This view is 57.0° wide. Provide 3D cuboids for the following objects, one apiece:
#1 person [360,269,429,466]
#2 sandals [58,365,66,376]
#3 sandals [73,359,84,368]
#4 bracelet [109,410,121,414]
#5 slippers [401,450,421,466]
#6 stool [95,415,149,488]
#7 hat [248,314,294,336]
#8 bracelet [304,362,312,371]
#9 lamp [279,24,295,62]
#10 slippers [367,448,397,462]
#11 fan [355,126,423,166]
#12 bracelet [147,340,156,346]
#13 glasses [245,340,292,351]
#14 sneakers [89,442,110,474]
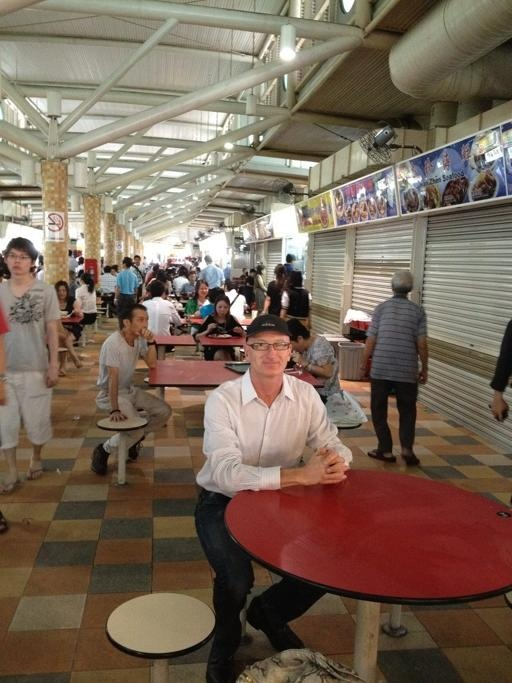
[{"bbox_3d":[1.367,0.386,4.692,0.607,1.665,0.317,5,7,16],"label":"person"},{"bbox_3d":[-3.249,0.511,7.973,0.078,0.091,0.240,1,9,-12],"label":"sandals"},{"bbox_3d":[-2.857,0.363,7.659,0.146,0.095,0.273,-40,16,-13],"label":"sandals"},{"bbox_3d":[-1.140,0.573,3.839,0.056,0.035,0.053,2,0,-13],"label":"bracelet"},{"bbox_3d":[1.530,1.166,4.634,0.087,0.078,0.231,-1,-4,-1],"label":"slippers"},{"bbox_3d":[-1.106,0.889,3.970,0.352,0.571,0.771,1,6,-13],"label":"stool"},{"bbox_3d":[0.046,-0.053,1.895,0.148,0.090,0.188,2,-6,-2],"label":"hat"},{"bbox_3d":[0.474,0.226,4.245,0.055,0.025,0.062,17,8,-8],"label":"bracelet"},{"bbox_3d":[0.385,-3.623,5.622,0.163,0.529,0.354,2,6,-2],"label":"lamp"},{"bbox_3d":[1.277,1.163,4.781,0.106,0.108,0.287,1,-2,-30],"label":"slippers"},{"bbox_3d":[2.121,-3.055,7.229,0.932,0.597,0.497,4,-3,-29],"label":"fan"},{"bbox_3d":[-0.970,0.009,4.403,0.081,0.052,0.083,1,8,-1],"label":"bracelet"},{"bbox_3d":[0.054,0.018,1.889,0.164,0.044,0.048,2,6,-1],"label":"glasses"},{"bbox_3d":[-1.348,1.006,4.149,0.151,0.295,0.123,-27,-26,15],"label":"sneakers"}]
